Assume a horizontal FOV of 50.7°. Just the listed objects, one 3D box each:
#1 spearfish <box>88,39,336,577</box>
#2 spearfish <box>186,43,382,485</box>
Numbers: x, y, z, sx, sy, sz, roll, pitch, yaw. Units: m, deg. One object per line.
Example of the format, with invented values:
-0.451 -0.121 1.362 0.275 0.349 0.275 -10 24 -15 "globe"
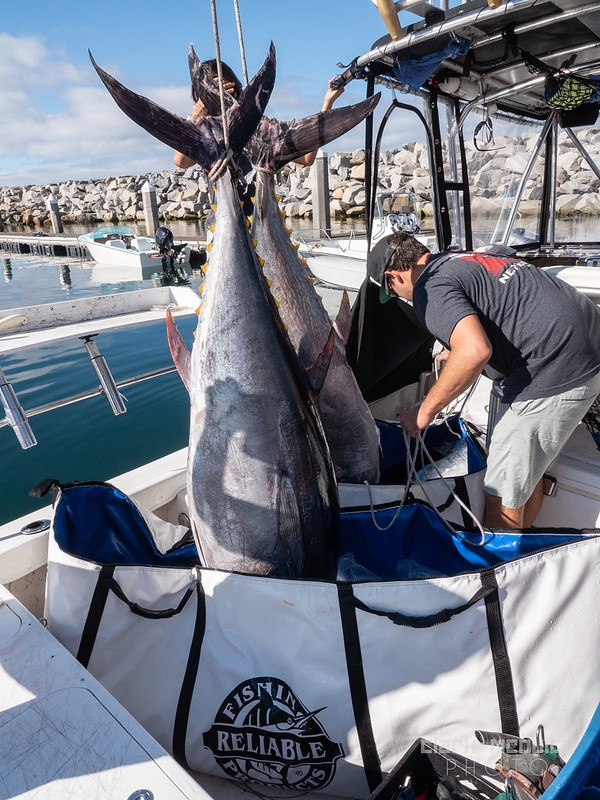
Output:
-0.099 -0.160 1.716 0.383 1.382 0.575 -9 7 -7 "spearfish"
0.060 -0.288 1.953 0.262 1.338 0.581 -21 0 35 "spearfish"
